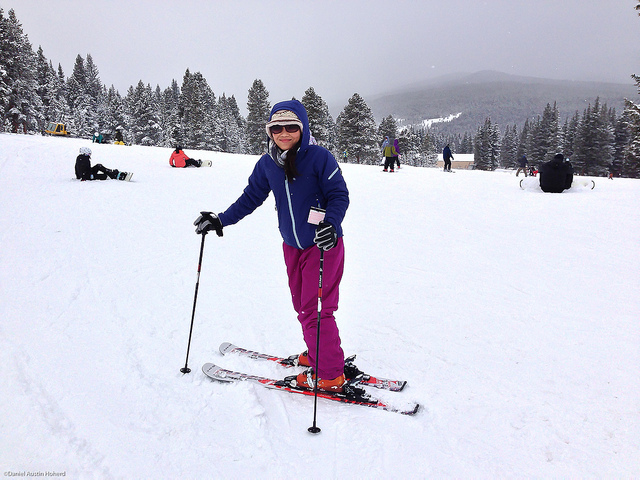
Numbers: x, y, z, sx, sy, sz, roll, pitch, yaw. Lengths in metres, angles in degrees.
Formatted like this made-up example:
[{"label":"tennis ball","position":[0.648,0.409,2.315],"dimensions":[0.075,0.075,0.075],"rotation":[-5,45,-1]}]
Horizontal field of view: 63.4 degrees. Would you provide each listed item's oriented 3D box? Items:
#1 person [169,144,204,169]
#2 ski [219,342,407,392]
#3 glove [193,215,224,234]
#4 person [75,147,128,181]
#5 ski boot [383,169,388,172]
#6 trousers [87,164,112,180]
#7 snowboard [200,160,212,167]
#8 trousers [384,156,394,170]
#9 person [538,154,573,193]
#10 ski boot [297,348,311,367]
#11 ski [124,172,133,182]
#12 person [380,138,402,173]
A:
[{"label":"person","position":[-4.576,-2.896,17.807],"dimensions":[0.552,0.811,1.288],"rotation":[10,23,23]},{"label":"ski","position":[-0.109,1.604,6.496],"dimensions":[1.999,0.128,0.252],"rotation":[12,41,18]},{"label":"glove","position":[-1.426,-0.201,6.618],"dimensions":[0.333,0.246,0.187],"rotation":[-6,15,-15]},{"label":"person","position":[-5.554,-1.891,13.174],"dimensions":[1.244,0.939,0.699],"rotation":[-2,0,-12]},{"label":"ski boot","position":[2.589,-2.769,20.598],"dimensions":[0.144,0.178,0.385],"rotation":[1,3,10]},{"label":"trousers","position":[-5.594,-1.704,13.088],"dimensions":[0.276,0.384,0.725],"rotation":[2,17,12]},{"label":"snowboard","position":[-4.080,-2.723,18.409],"dimensions":[0.286,0.249,0.294],"rotation":[9,58,24]},{"label":"trousers","position":[2.751,-3.078,20.708],"dimensions":[0.371,0.642,1.054],"rotation":[0,16,7]},{"label":"person","position":[6.365,-1.825,13.964],"dimensions":[0.833,1.024,0.623],"rotation":[5,16,24]},{"label":"ski boot","position":[-0.217,1.522,6.697],"dimensions":[0.126,0.136,0.180],"rotation":[-2,-16,-31]},{"label":"ski","position":[-5.015,-1.642,13.495],"dimensions":[0.030,0.190,0.396],"rotation":[21,-5,-36]},{"label":"person","position":[2.707,-3.393,20.352],"dimensions":[0.636,1.392,0.511],"rotation":[12,36,21]}]
